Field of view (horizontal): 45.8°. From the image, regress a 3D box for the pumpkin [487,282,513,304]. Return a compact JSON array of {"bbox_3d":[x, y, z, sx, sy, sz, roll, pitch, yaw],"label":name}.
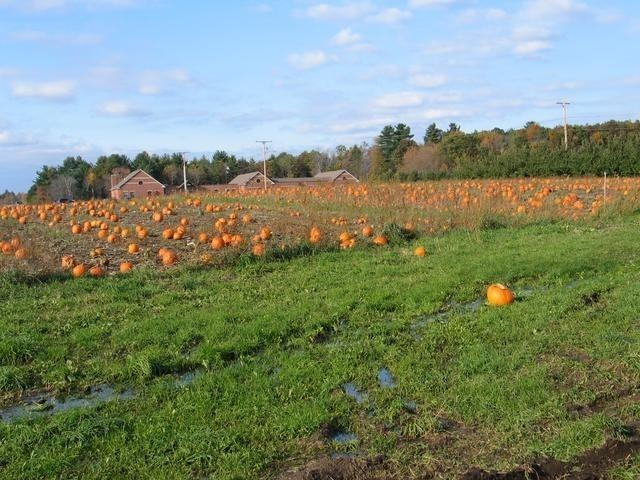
[{"bbox_3d":[3.246,1.000,13.767,0.479,0.337,0.462,-5,5,16],"label":"pumpkin"}]
